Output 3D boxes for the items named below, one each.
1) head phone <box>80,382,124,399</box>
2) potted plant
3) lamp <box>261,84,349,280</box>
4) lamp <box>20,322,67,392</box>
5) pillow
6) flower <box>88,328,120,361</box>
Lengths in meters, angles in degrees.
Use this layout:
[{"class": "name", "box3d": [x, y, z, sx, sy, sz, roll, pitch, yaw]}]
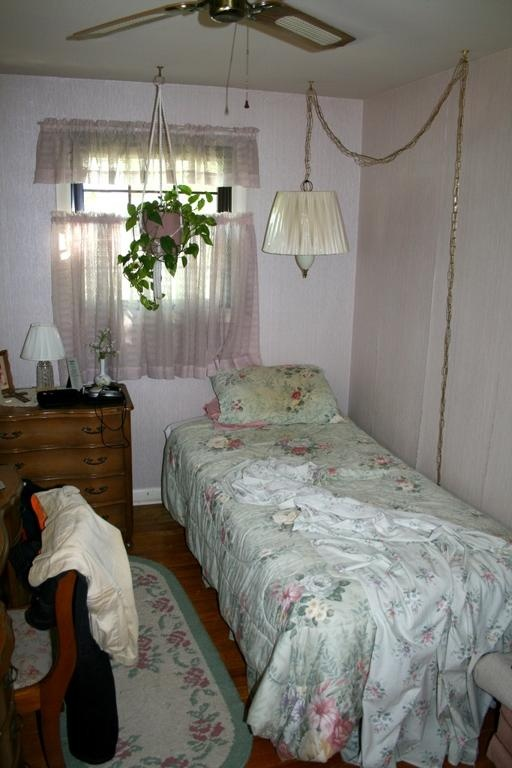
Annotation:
[{"class": "head phone", "box3d": [-0.829, 0.043, 3.060, 0.143, 0.050, 0.118, -2, 8, -13]}, {"class": "potted plant", "box3d": [-0.481, -0.714, 2.975, 0.581, 0.303, 0.704, -6, 1, -16]}, {"class": "lamp", "box3d": [0.331, -1.166, 3.279, 0.507, 1.065, 0.892, 4, 11, 17]}, {"class": "lamp", "box3d": [-1.143, -0.142, 3.038, 0.203, 0.368, 0.376, -4, 11, -22]}, {"class": "pillow", "box3d": [0.097, 0.045, 3.353, 0.541, 0.154, 0.403, -3, 40, -8]}, {"class": "flower", "box3d": [-0.873, -0.229, 3.287, 0.172, 0.229, 0.168, 15, 17, 42]}]
